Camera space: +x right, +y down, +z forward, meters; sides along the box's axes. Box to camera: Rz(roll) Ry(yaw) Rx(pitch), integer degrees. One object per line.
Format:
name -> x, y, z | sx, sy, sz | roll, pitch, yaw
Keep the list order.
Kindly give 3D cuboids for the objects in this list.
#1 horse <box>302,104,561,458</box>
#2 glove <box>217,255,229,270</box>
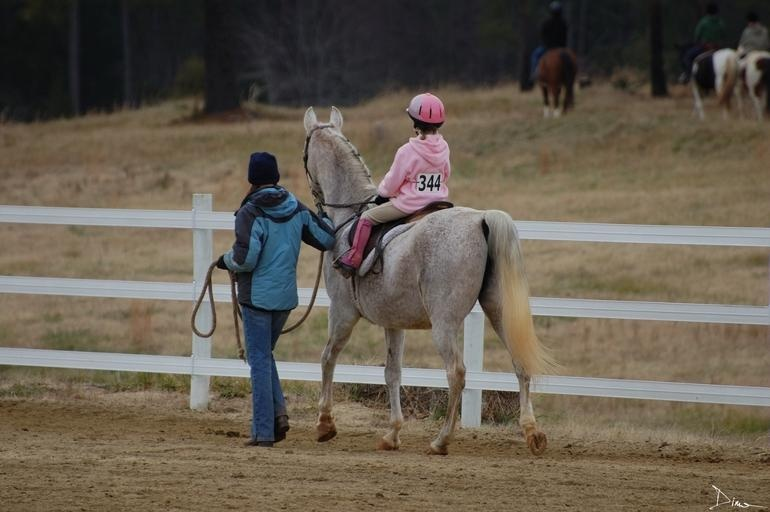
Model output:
horse -> 0.956, 0.814, 46.800 | 5.393, 7.532, 1.633 | 0, 6, 5
glove -> -3.747, 0.168, 46.553 | 0.250, 0.302, 0.291 | 2, -3, -7
